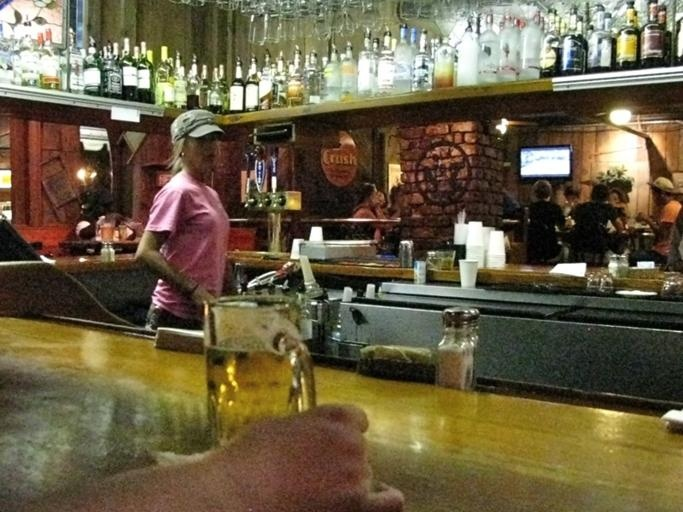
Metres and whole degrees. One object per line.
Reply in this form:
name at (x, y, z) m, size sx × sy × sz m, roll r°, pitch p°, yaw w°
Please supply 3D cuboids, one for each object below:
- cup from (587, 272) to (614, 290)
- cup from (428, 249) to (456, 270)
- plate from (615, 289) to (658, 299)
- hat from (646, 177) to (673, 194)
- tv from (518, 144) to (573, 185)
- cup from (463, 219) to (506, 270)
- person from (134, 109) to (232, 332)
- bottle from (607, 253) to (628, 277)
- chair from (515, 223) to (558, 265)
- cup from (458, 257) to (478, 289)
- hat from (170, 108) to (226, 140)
cup at (1.300, 0.125, 2.945) m, size 0.128 × 0.100 × 0.210 m, roll 4°, pitch 2°, yaw 24°
cup at (0.574, 0.025, 3.427) m, size 0.158 × 0.095 × 0.157 m, roll 3°, pitch 2°, yaw 0°
plate at (1.427, 0.180, 2.827) m, size 0.179 × 0.038 × 0.292 m, roll 4°, pitch 2°, yaw 26°
hat at (3.443, -0.761, 6.238) m, size 0.192 × 0.187 × 0.578 m, roll 4°, pitch 2°, yaw 29°
tv at (4.100, -1.839, 11.686) m, size 1.361 × 0.924 × 0.432 m, roll 2°, pitch 0°, yaw 22°
cup at (0.886, -0.054, 3.587) m, size 0.364 × 0.356 × 0.215 m, roll 3°, pitch 2°, yaw 20°
person at (-0.725, -0.201, 2.703) m, size 0.393 × 1.062 × 0.610 m, roll 3°, pitch 2°, yaw -11°
bottle at (1.522, 0.054, 3.210) m, size 0.102 × 0.123 × 0.277 m, roll 4°, pitch 2°, yaw 25°
chair at (2.378, -0.175, 7.131) m, size 0.553 × 0.496 × 0.333 m, roll 1°, pitch -6°, yaw -12°
cup at (0.660, 0.094, 3.193) m, size 0.133 × 0.137 × 0.134 m, roll 1°, pitch -2°, yaw 0°
hat at (-0.727, -0.656, 2.927) m, size 0.243 × 0.122 × 0.166 m, roll -7°, pitch -5°, yaw 26°
